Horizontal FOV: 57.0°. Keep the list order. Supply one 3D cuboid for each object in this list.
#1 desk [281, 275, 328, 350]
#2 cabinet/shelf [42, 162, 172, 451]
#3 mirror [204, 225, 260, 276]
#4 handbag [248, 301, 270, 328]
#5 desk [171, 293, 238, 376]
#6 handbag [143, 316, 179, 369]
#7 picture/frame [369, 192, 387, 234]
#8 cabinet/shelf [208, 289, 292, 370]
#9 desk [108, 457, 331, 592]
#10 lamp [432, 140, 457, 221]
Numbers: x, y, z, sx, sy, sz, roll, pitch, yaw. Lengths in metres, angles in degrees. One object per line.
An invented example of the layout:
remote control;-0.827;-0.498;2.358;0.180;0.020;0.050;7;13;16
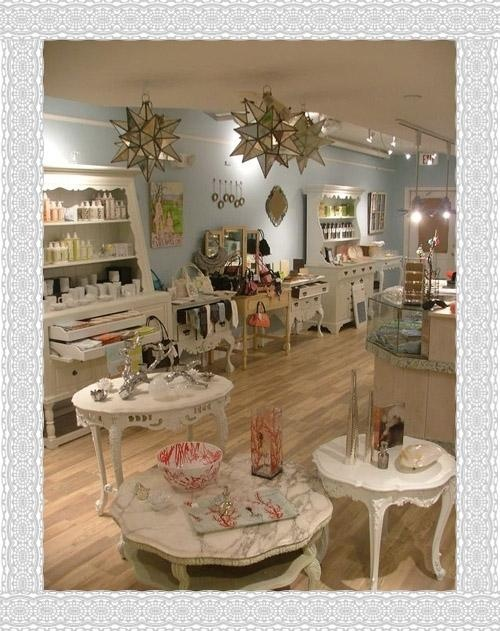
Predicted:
desk;0.781;-0.139;7.850;0.919;1.058;0.814;-10;17;-32
cabinet/shelf;-1.494;-0.221;4.512;0.782;2.435;1.556;8;14;29
mirror;-0.306;-0.955;6.688;0.052;0.572;0.782;5;9;39
handbag;0.120;-0.031;6.523;0.369;0.465;0.176;0;1;-33
desk;-0.770;0.263;5.876;1.031;0.993;0.723;-9;15;-37
handbag;-0.912;0.183;4.636;0.363;0.416;0.148;-3;28;42
picture/frame;3.079;-2.511;11.144;0.112;1.112;0.956;4;13;32
cabinet/shelf;0.079;0.168;6.884;0.538;1.099;1.206;10;13;32
desk;-0.146;0.932;2.010;0.989;0.466;0.838;-4;-11;13
lamp;3.001;-2.021;6.993;0.193;0.959;0.185;10;18;40
